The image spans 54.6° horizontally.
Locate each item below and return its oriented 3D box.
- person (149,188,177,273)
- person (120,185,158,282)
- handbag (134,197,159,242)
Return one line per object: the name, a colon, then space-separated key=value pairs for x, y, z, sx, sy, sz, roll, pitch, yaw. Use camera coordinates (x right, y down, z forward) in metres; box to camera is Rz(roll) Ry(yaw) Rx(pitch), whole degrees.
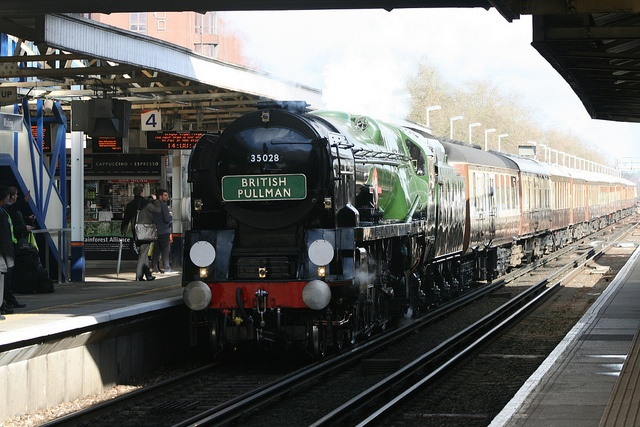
person: x=-4.502 y=0.615 z=17.562 sx=0.795 sy=2.598 sz=0.848 roll=0 pitch=0 yaw=24
person: x=-4.860 y=0.379 z=16.562 sx=1.021 sy=2.947 sz=1.131 roll=0 pitch=-1 yaw=2
handbag: x=-4.612 y=0.226 z=16.325 sx=0.571 sy=1.029 sz=0.783 roll=-3 pitch=3 yaw=-16
